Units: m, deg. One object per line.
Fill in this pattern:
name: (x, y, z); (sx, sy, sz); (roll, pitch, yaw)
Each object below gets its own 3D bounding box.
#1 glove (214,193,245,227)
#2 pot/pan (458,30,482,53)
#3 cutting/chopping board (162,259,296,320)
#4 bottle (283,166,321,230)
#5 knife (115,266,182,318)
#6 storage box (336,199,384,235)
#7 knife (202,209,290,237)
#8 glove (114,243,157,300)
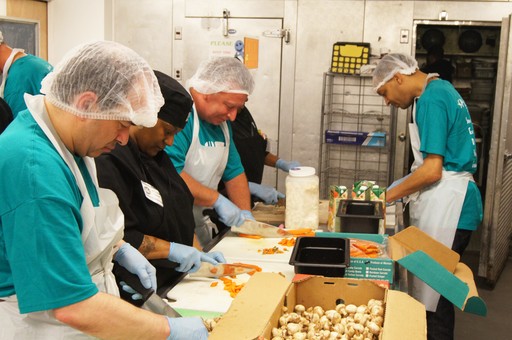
glove: (-0.191, 0.278, 2.664); (0.227, 0.139, 0.083); (47, -6, 4)
pot/pan: (4.187, -2.514, 7.718); (0.446, 0.440, 0.094); (2, 11, -3)
cutting/chopping board: (-0.145, 0.583, 1.909); (0.665, 0.822, 0.043); (0, 52, -4)
bottle: (0.312, 0.198, 2.640); (0.237, 0.408, 0.276); (3, 11, 8)
knife: (-0.466, 0.536, 1.686); (0.126, 0.060, 0.496); (-20, 24, -33)
storage box: (0.640, 0.315, 2.429); (0.282, 0.176, 0.262); (3, 19, 22)
knife: (-0.059, 0.370, 2.621); (0.546, 0.140, 0.052); (12, 2, 23)
glove: (-0.584, 0.499, 1.851); (0.168, 0.060, 0.245); (-6, 57, -56)
